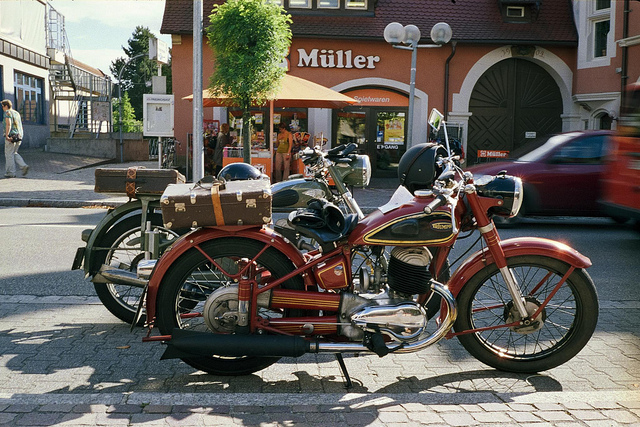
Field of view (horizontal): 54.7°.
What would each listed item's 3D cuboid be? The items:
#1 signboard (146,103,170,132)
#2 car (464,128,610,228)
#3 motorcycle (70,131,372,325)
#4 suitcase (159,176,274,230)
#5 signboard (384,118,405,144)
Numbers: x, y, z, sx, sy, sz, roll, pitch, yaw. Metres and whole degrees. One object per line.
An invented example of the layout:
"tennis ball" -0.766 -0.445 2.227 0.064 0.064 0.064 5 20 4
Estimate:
"signboard" -4.670 -2.810 17.926 0.989 0.992 0.087 5 8 23
"car" 3.542 -0.760 11.124 3.655 1.614 1.969 3 1 -1
"motorcycle" -0.816 0.102 6.561 3.586 1.756 1.521 -1 5 -2
"suitcase" -0.931 -0.044 5.376 0.959 0.276 0.695 -3 5 -9
"signboard" 2.778 -3.154 23.162 1.109 1.098 0.081 1 -6 -7
